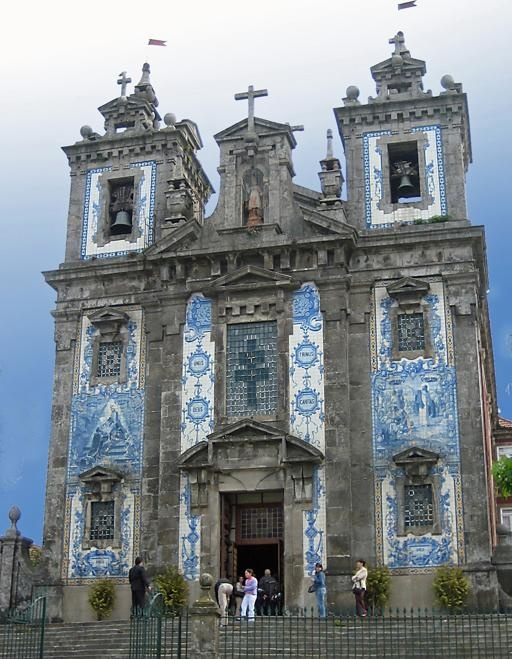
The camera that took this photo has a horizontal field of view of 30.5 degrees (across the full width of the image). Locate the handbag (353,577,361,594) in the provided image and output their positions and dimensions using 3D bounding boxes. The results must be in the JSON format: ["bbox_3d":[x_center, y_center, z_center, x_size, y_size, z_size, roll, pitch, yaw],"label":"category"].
[{"bbox_3d":[2.415,6.058,22.239,0.182,0.356,0.251,0,-19,-3],"label":"handbag"}]
